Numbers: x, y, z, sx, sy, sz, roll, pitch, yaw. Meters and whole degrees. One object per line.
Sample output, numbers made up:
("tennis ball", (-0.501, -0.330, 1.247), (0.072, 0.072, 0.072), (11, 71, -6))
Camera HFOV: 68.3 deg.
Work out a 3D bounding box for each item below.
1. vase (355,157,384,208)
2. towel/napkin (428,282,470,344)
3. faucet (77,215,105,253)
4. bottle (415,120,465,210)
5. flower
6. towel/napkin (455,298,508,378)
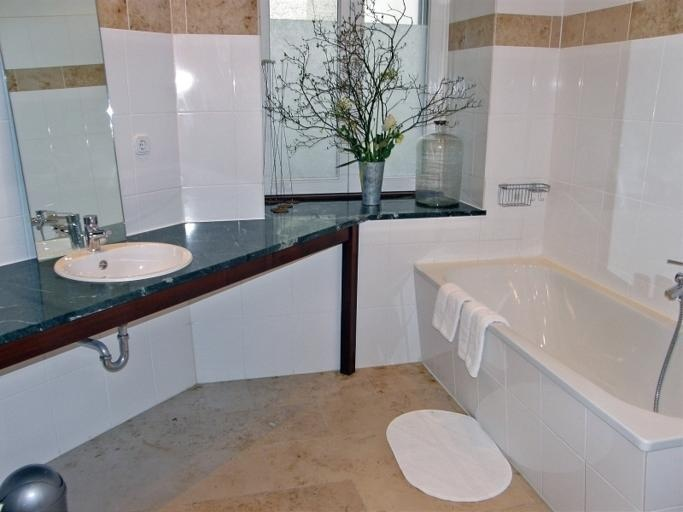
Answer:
("vase", (0.184, -0.464, 3.197), (0.166, 0.266, 0.168), (0, 15, -1))
("towel/napkin", (0.583, 0.313, 2.770), (0.153, 0.303, 0.248), (-3, 26, -23))
("faucet", (-1.129, -0.100, 2.280), (0.090, 0.151, 0.084), (-10, 17, -42))
("bottle", (0.635, -0.617, 3.328), (0.405, 0.538, 0.420), (1, 17, 0))
("flower", (0.269, -1.096, 3.325), (1.157, 1.059, 1.036), (6, 25, 30))
("towel/napkin", (0.687, 0.429, 2.533), (0.157, 0.363, 0.354), (-2, 15, -10))
